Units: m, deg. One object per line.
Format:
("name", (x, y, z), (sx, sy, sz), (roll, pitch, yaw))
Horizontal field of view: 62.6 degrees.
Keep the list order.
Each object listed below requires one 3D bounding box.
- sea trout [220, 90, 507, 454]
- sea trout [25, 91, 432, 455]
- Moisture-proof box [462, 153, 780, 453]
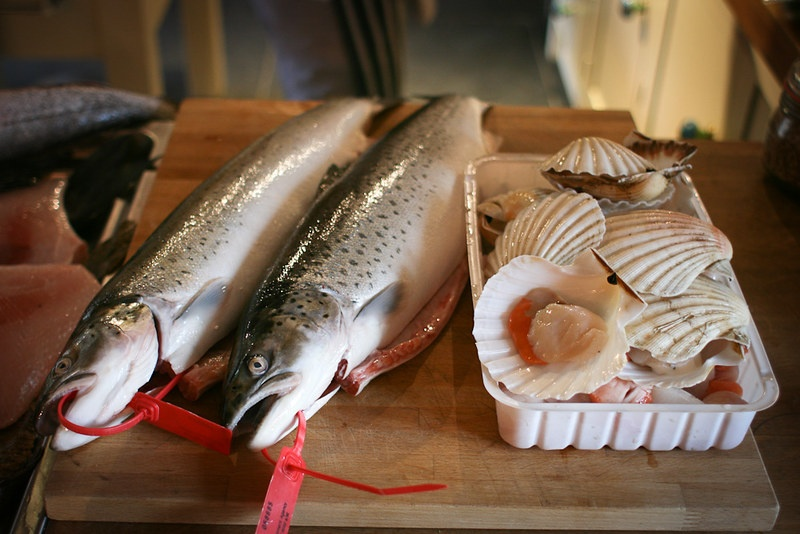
("sea trout", (-0.016, -0.034, 1.365), (0.279, 0.250, 0.847), (36, 67, 21))
("sea trout", (-0.256, -0.093, 1.443), (0.282, 0.220, 1.069), (9, 48, 38))
("Moisture-proof box", (0.369, 0.027, 1.227), (0.481, 0.389, 0.533), (-2, 28, 2))
